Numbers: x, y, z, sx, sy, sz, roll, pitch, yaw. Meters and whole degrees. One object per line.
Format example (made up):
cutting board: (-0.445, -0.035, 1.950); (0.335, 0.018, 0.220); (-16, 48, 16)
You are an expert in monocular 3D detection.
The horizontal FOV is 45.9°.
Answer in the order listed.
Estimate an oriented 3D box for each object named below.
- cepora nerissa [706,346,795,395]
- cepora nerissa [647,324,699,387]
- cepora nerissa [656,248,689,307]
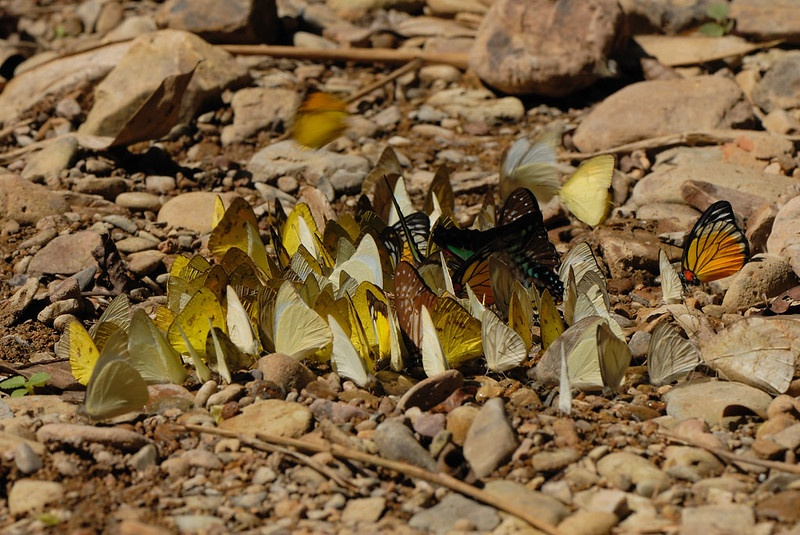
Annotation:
cepora nerissa: (2.286, 0.652, 6.127); (0.384, 0.277, 0.177); (7, 89, 19)
cepora nerissa: (1.741, 0.545, 6.188); (0.342, 0.385, 0.503); (5, 91, 26)
cepora nerissa: (1.938, 0.084, 6.770); (0.220, 0.336, 0.347); (7, 89, 29)
